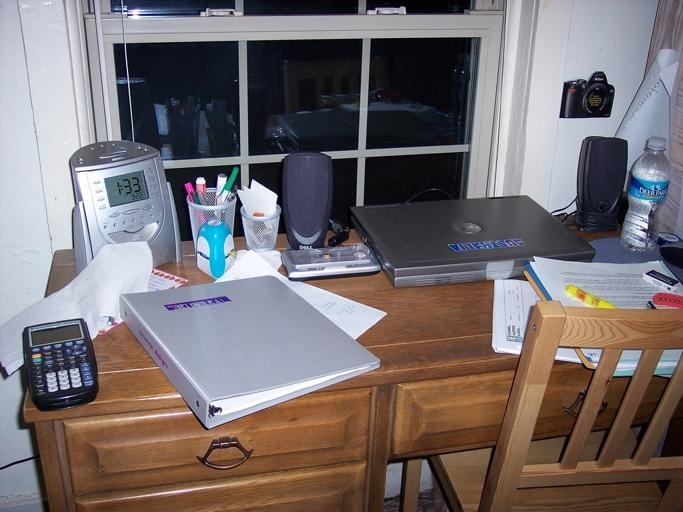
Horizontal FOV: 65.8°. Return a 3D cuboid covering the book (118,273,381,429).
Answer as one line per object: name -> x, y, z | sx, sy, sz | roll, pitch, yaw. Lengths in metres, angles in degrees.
book -> -0.216, 0.152, 1.054 | 0.325, 0.048, 0.353 | -12, 32, -33

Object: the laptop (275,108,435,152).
laptop -> 0.070, -0.402, 1.632 | 0.533, 0.139, 0.023 | -5, 24, -11

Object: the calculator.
calculator -> -0.528, 0.175, 0.976 | 0.119, 0.052, 0.178 | -11, 48, -24

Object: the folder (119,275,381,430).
folder -> -0.204, 0.162, 1.087 | 0.344, 0.109, 0.456 | -18, 28, -35

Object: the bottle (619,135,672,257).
bottle -> 0.825, -0.162, 1.446 | 0.103, 0.315, 0.127 | -2, 22, -7

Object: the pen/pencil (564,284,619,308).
pen/pencil -> 0.560, 0.092, 1.182 | 0.064, 0.020, 0.021 | 26, -1, 23

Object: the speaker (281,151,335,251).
speaker -> -0.088, -0.149, 1.442 | 0.142, 0.240, 0.135 | -5, 27, -10
